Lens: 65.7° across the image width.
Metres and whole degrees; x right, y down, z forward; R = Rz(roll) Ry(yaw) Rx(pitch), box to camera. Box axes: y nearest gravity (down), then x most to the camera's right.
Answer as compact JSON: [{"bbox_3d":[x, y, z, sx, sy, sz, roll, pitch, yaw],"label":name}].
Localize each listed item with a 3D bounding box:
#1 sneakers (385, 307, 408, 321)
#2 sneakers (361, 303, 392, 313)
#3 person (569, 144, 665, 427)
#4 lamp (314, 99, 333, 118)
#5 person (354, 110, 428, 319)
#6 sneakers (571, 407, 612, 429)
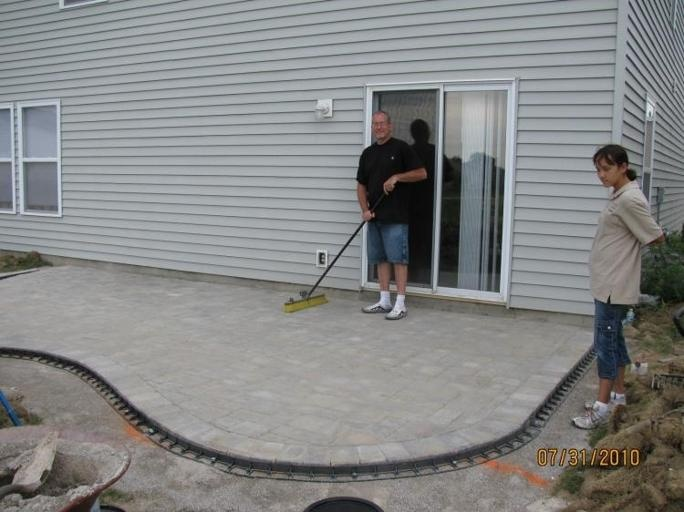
[{"bbox_3d":[0.619,0.650,5.958,0.107,0.109,0.276,-4,-2,44],"label":"sneakers"},{"bbox_3d":[0.411,0.606,6.214,0.354,0.130,0.125,3,-6,-14],"label":"sneakers"},{"bbox_3d":[1.832,0.223,3.521,0.416,1.885,0.300,3,7,9],"label":"person"},{"bbox_3d":[-0.226,-1.871,6.714,0.284,0.266,0.154,0,0,32],"label":"lamp"},{"bbox_3d":[0.512,-0.463,6.047,0.464,2.266,0.728,-3,8,-36],"label":"person"},{"bbox_3d":[1.679,1.100,3.630,0.302,0.122,0.109,-15,17,16],"label":"sneakers"}]
